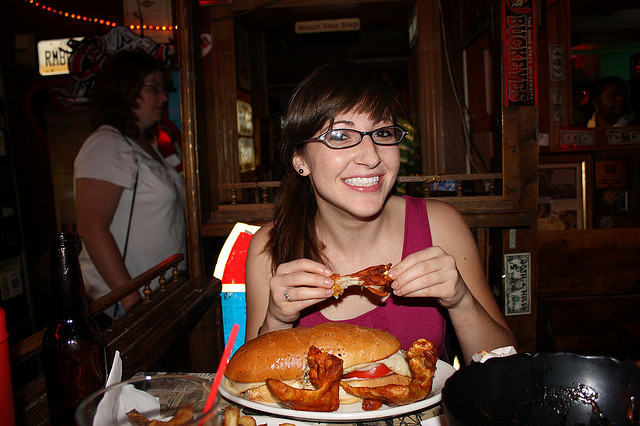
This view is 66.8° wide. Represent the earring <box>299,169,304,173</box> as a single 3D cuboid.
[{"bbox_3d":[-0.124,-0.256,3.070,0.028,0.020,0.014,3,6,23],"label":"earring"}]

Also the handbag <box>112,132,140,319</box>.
[{"bbox_3d":[-1.502,0.085,3.734,0.132,1.384,0.317,1,5,2],"label":"handbag"}]

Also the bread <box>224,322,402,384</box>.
[{"bbox_3d":[-0.045,0.689,2.470,0.550,0.150,0.405,-9,-1,1],"label":"bread"}]
